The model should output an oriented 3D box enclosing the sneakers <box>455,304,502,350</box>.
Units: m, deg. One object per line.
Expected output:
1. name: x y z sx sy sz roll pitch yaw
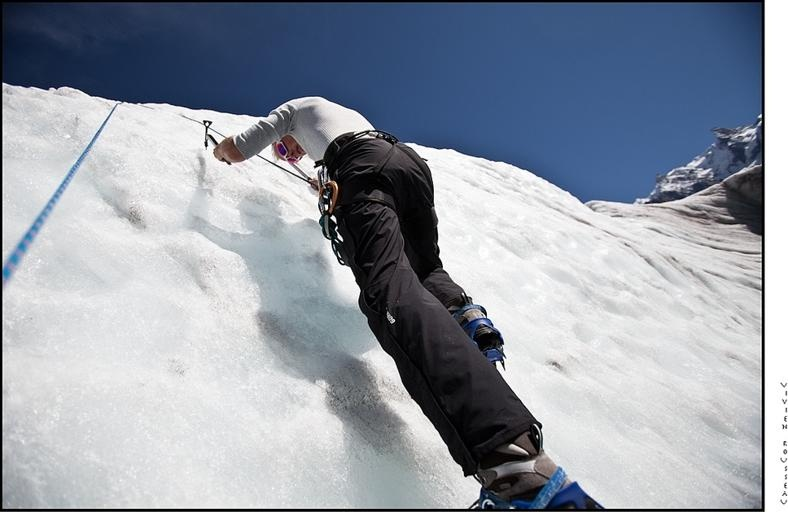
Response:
1. sneakers: 0.687 0.594 4.192 0.266 0.188 0.388 -4 46 -37
